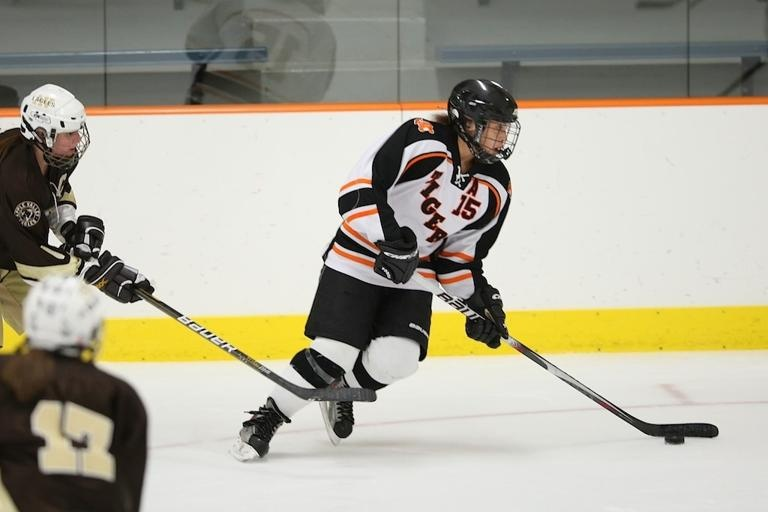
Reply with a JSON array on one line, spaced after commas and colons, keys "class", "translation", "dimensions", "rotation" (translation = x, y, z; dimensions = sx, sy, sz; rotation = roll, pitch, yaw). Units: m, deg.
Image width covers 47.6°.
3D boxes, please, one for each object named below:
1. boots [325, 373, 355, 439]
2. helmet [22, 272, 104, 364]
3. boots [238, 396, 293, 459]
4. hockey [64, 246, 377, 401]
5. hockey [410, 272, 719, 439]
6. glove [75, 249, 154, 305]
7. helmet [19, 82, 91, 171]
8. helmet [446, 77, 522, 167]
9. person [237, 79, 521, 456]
[{"class": "boots", "translation": [-0.184, 0.746, 4.294], "dimensions": [0.113, 0.321, 0.140], "rotation": [-4, -3, -30]}, {"class": "helmet", "translation": [-1.090, 0.218, 3.162], "dimensions": [0.318, 0.289, 0.241], "rotation": [6, 3, -11]}, {"class": "boots", "translation": [-0.585, 0.848, 4.163], "dimensions": [0.147, 0.184, 0.407], "rotation": [47, 13, -7]}, {"class": "hockey", "translation": [-0.904, 0.387, 4.739], "dimensions": [1.410, 0.176, 0.254], "rotation": [29, -3, 19]}, {"class": "hockey", "translation": [1.009, 0.613, 5.118], "dimensions": [1.380, 0.118, 0.190], "rotation": [29, -27, 12]}, {"class": "glove", "translation": [-1.293, 0.116, 4.300], "dimensions": [0.376, 0.200, 0.146], "rotation": [37, -2, -15]}, {"class": "helmet", "translation": [-1.587, -0.620, 4.240], "dimensions": [0.312, 0.398, 0.170], "rotation": [6, 9, -20]}, {"class": "helmet", "translation": [0.556, -0.674, 4.313], "dimensions": [0.425, 0.398, 0.344], "rotation": [22, 20, 18]}, {"class": "person", "translation": [0.162, -0.094, 4.232], "dimensions": [1.025, 1.573, 0.372], "rotation": [9, 8, -1]}]
